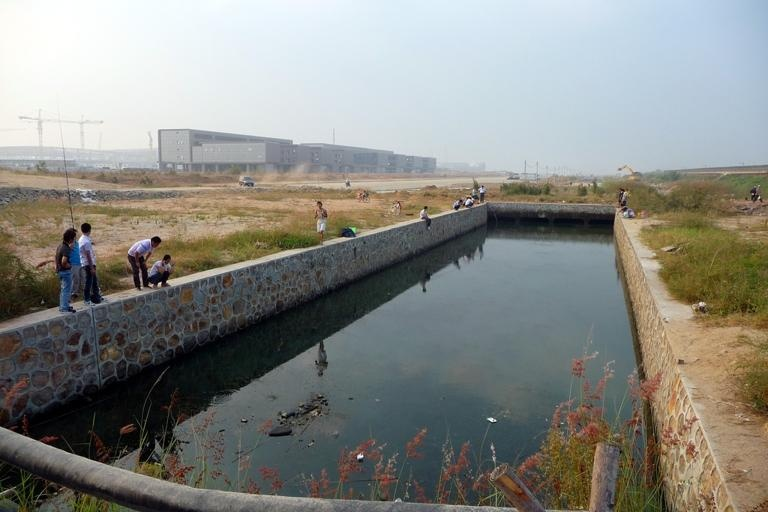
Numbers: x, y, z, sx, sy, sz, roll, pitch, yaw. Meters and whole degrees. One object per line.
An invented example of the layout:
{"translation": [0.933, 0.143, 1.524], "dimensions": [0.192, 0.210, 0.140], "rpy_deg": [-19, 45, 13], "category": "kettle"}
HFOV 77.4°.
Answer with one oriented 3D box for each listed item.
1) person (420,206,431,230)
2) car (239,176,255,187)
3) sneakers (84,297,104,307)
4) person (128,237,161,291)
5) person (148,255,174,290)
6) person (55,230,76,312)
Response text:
{"translation": [2.568, -2.292, 29.145], "dimensions": [0.467, 1.382, 1.838], "rpy_deg": [2, 11, 13], "category": "person"}
{"translation": [-20.227, -10.970, 70.807], "dimensions": [1.689, 1.110, 3.355], "rpy_deg": [-3, 11, -9], "category": "car"}
{"translation": [-6.663, 1.063, 11.011], "dimensions": [0.386, 0.168, 0.138], "rpy_deg": [2, 7, 4], "category": "sneakers"}
{"translation": [-6.502, 0.136, 13.029], "dimensions": [0.750, 1.483, 2.000], "rpy_deg": [-7, 12, -28], "category": "person"}
{"translation": [-5.918, 0.367, 12.678], "dimensions": [0.518, 0.821, 0.575], "rpy_deg": [19, 9, 28], "category": "person"}
{"translation": [-7.000, 0.313, 10.567], "dimensions": [0.476, 1.759, 0.652], "rpy_deg": [-8, 13, -33], "category": "person"}
